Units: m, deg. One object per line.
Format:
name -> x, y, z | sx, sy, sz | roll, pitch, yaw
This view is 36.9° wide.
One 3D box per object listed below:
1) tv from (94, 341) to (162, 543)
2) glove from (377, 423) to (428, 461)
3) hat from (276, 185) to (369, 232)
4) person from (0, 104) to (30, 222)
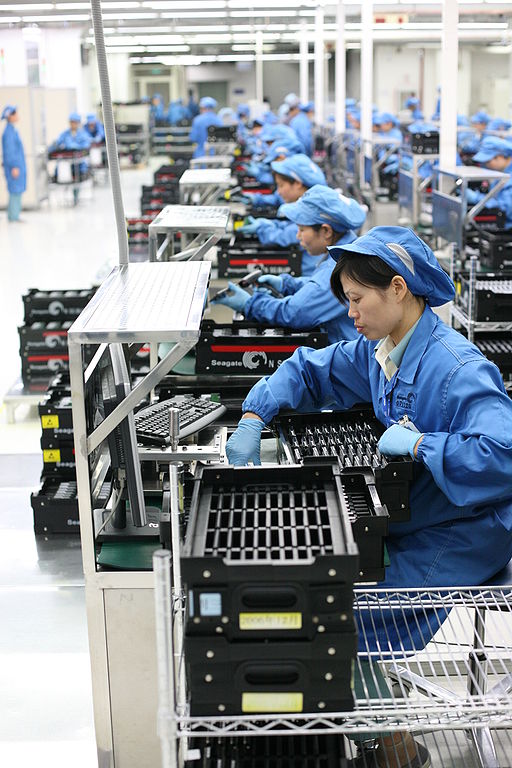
tv -> -0.297, 0.152, 1.755 | 0.162, 0.393, 0.384 | -6, 22, -7
glove -> 0.323, 0.126, 1.666 | 0.098, 0.065, 0.112 | 7, 19, 28
hat -> 0.297, -0.713, 3.227 | 0.285, 0.122, 0.213 | 10, 24, -2
person -> -3.911, -3.520, 12.355 | 0.384, 1.762, 1.292 | -8, 19, -15
